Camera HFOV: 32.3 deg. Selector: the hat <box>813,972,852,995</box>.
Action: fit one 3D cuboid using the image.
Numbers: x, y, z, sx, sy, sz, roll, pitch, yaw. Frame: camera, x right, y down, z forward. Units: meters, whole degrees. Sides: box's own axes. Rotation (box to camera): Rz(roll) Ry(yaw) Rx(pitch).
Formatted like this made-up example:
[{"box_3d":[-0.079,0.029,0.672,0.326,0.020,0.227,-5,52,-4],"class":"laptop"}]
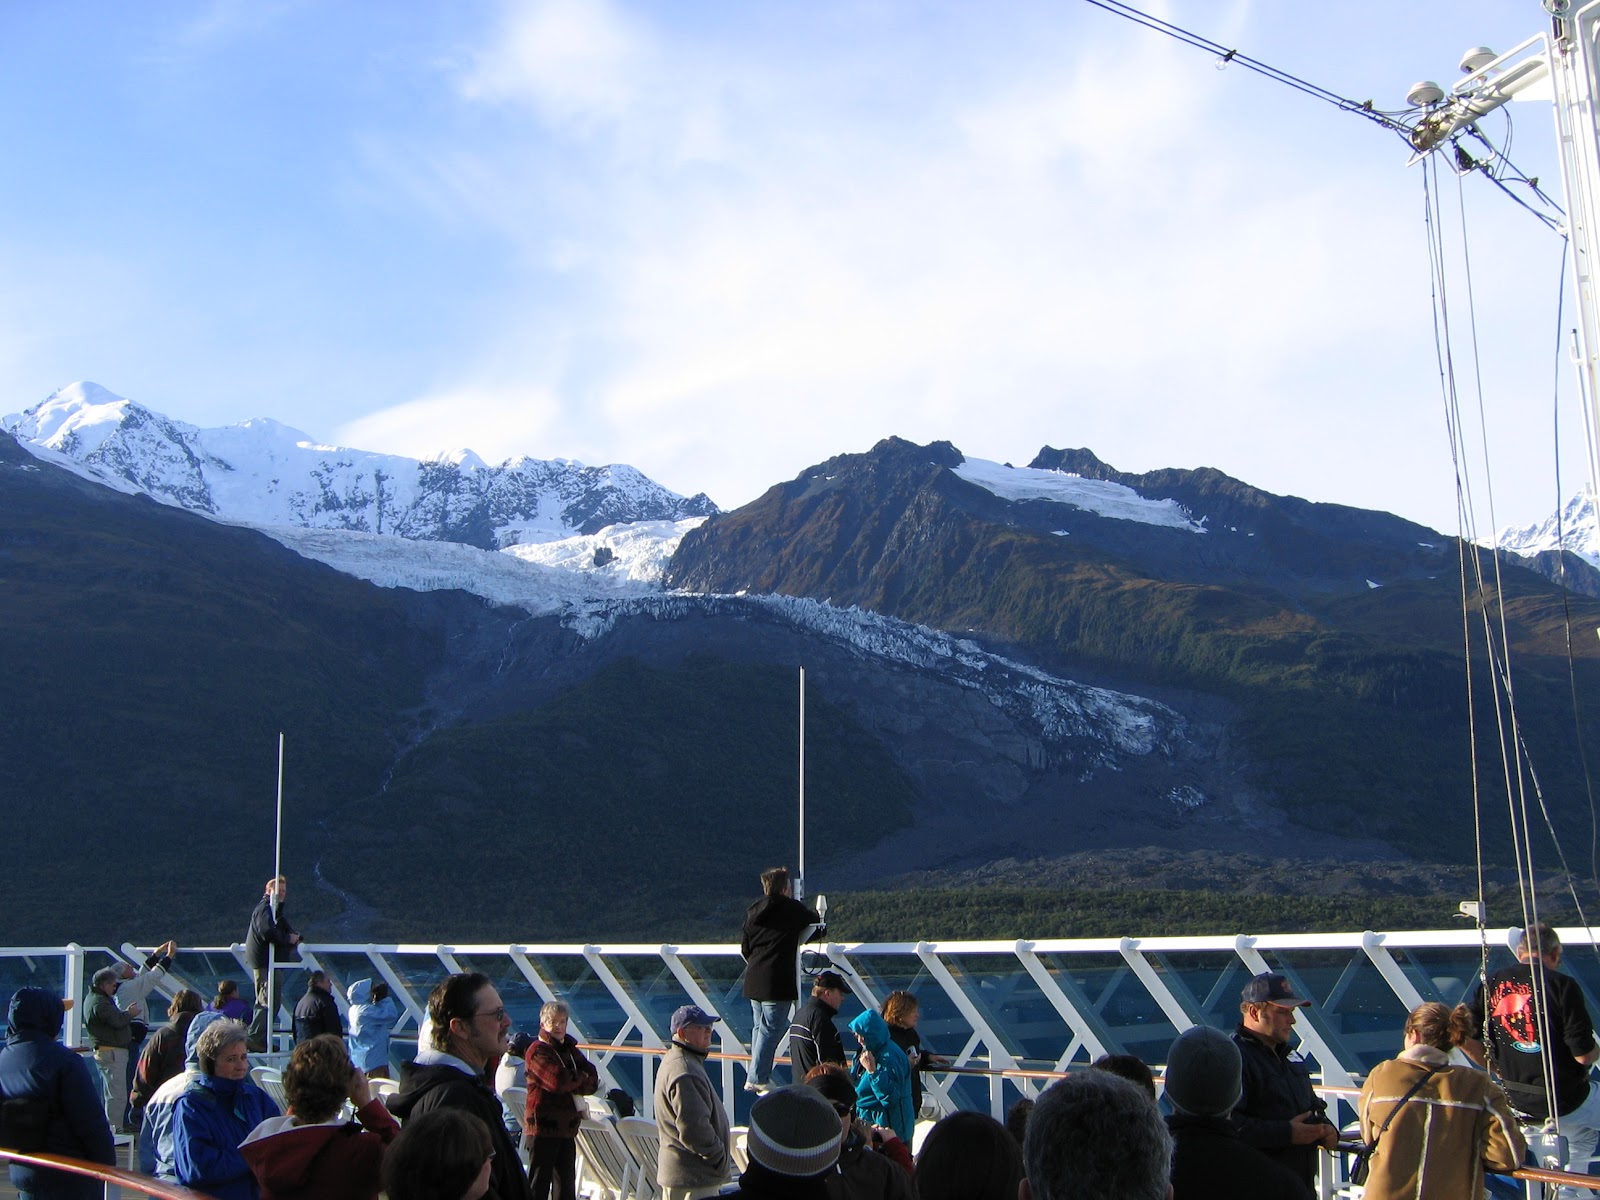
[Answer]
[{"box_3d":[1.021,12.122,87.792,1.163,0.902,0.609,11,-12,-24],"class":"hat"}]
